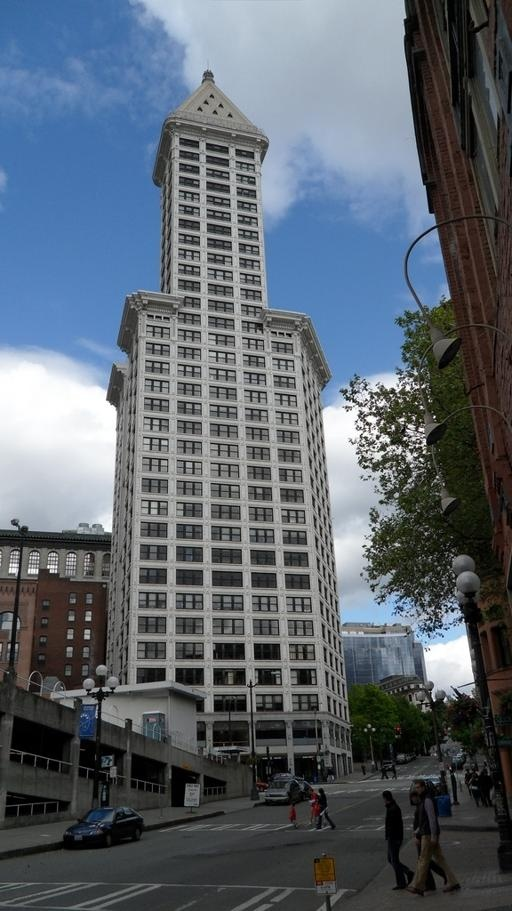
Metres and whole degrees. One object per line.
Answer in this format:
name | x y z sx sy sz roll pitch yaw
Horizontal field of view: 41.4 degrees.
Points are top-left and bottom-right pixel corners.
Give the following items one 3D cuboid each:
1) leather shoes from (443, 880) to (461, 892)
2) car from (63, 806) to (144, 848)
leather shoes | 2.765 6.080 9.533 0.228 0.127 0.468 -10 -20 11
car | -5.020 12.368 22.267 1.324 1.192 3.173 -11 -20 17
